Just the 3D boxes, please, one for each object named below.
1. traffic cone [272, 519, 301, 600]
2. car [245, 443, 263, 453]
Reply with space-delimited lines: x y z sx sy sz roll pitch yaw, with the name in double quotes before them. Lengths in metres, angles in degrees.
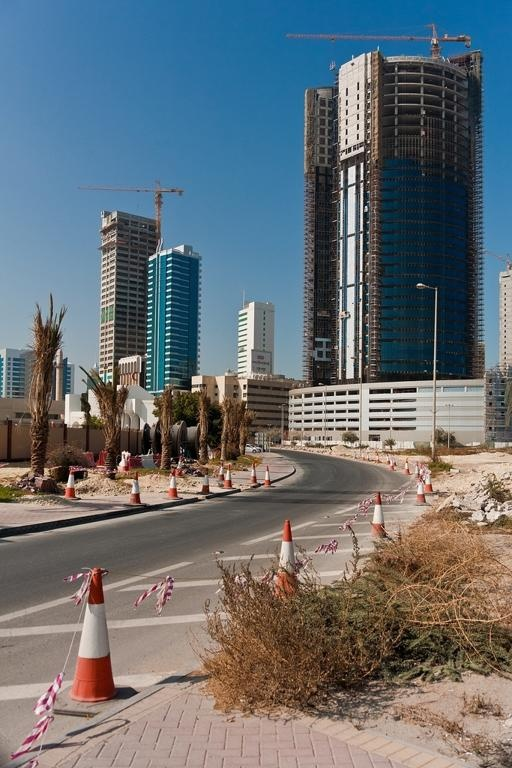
"traffic cone" 0.282 1.652 7.847 0.455 0.697 0.486 1 -15 1
"car" -0.400 6.905 90.501 1.805 0.875 1.116 -4 -2 15
